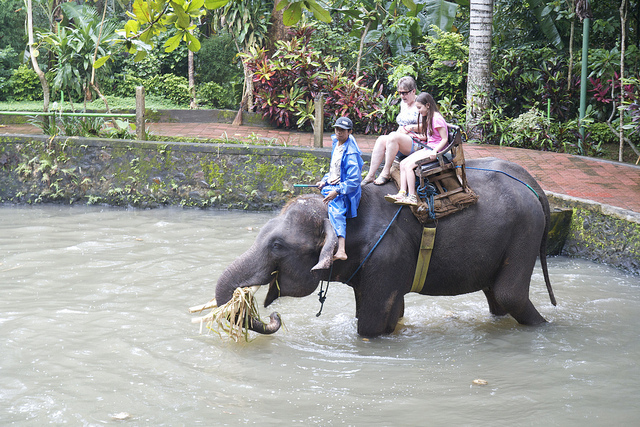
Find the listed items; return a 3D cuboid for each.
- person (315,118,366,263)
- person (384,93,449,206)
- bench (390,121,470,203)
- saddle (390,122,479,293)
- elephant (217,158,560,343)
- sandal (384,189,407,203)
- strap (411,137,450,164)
[{"bbox_3d":[0.227,-0.261,7.904,0.537,1.647,0.770,1,10,1],"label":"person"},{"bbox_3d":[1.156,-0.785,8.258,0.844,1.284,0.540,-10,13,-7],"label":"person"},{"bbox_3d":[1.307,-0.660,8.265,0.743,0.805,0.705,-25,24,-35],"label":"bench"},{"bbox_3d":[1.388,-0.127,8.460,1.018,2.196,0.723,5,-1,-12],"label":"saddle"},{"bbox_3d":[0.924,0.494,7.995,4.758,2.590,1.693,-3,7,-10],"label":"elephant"},{"bbox_3d":[0.875,-0.210,7.956,0.271,0.168,0.113,1,-6,-2],"label":"sandal"},{"bbox_3d":[1.319,-0.738,8.094,0.074,0.082,0.633,-2,25,-47],"label":"strap"}]
